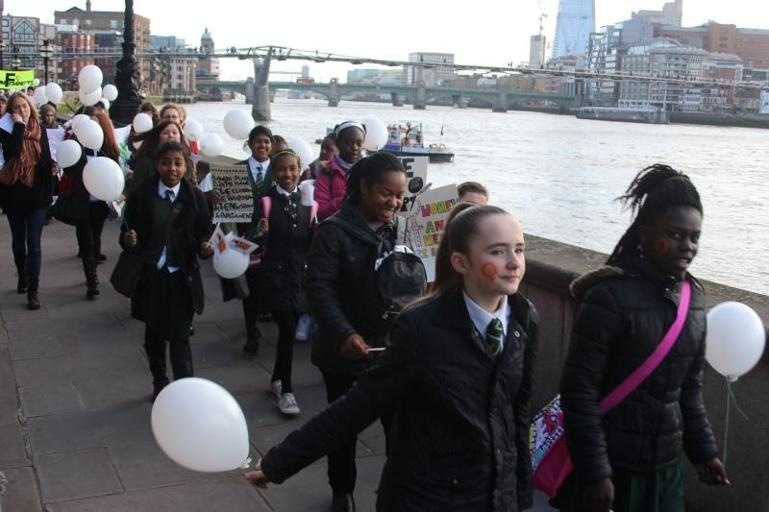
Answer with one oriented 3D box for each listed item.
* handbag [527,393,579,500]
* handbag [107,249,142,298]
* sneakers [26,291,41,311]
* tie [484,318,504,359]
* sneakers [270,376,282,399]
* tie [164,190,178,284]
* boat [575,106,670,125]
[{"bbox_3d":[0.936,0.982,3.438,0.150,0.468,0.384,14,19,-11],"label":"handbag"},{"bbox_3d":[-2.158,0.152,5.539,0.130,0.353,0.347,12,18,-44],"label":"handbag"},{"bbox_3d":[-4.217,0.536,7.947,0.109,0.218,0.321,4,-23,-19],"label":"sneakers"},{"bbox_3d":[0.487,0.364,2.905,0.083,0.153,0.037,1,0,-3],"label":"tie"},{"bbox_3d":[-0.960,1.172,5.817,0.083,0.104,0.224,2,-1,-33],"label":"sneakers"},{"bbox_3d":[-1.782,-0.212,5.531,0.107,0.674,0.205,-1,14,-18],"label":"tie"},{"bbox_3d":[52.383,-31.279,146.230,8.369,3.202,25.039,-1,14,-17],"label":"boat"}]
